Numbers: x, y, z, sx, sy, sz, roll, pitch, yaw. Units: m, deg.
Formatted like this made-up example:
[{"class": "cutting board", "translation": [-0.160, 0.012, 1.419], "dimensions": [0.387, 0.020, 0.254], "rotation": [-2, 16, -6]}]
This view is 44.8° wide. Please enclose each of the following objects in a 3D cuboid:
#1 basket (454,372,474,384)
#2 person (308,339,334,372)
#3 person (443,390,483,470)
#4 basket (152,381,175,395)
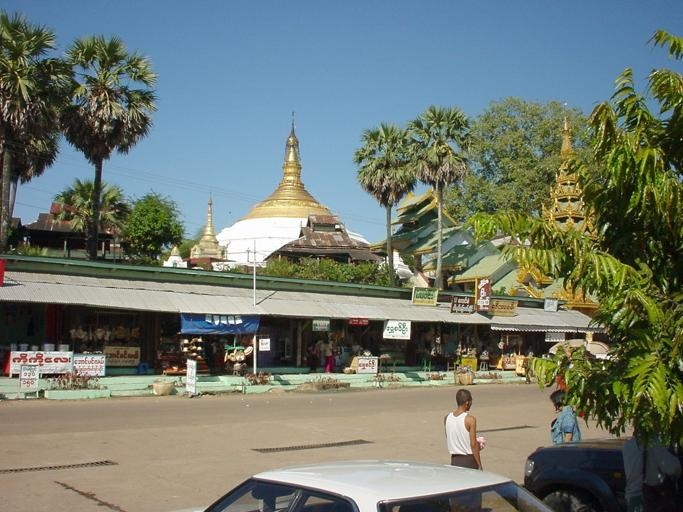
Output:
[{"class": "basket", "translation": [5.417, 5.348, 36.390], "dimensions": [0.637, 0.424, 0.516], "rotation": [-1, -3, 9]}, {"class": "person", "translation": [-0.824, 4.042, 33.778], "dimensions": [1.083, 1.412, 1.549], "rotation": [1, -11, -4]}, {"class": "person", "translation": [1.856, 2.596, 12.582], "dimensions": [0.525, 1.162, 1.059], "rotation": [-1, -11, 7]}, {"class": "basket", "translation": [-5.898, 4.336, 27.237], "dimensions": [0.431, 0.334, 0.530], "rotation": [4, -11, -32]}]
